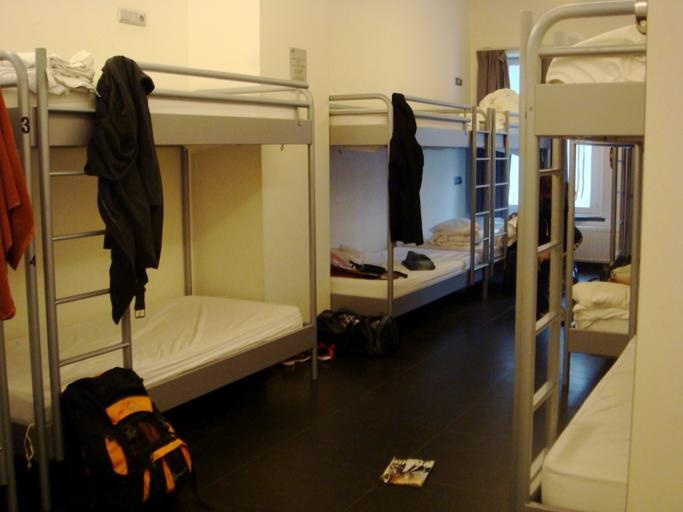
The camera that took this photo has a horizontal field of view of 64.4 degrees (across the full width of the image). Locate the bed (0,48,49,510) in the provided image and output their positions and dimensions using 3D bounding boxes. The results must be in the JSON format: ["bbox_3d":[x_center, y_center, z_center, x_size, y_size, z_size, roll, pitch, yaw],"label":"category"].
[{"bbox_3d":[-1.412,0.143,2.503,0.132,2.109,0.245,-5,9,-29],"label":"bed"}]

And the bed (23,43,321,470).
[{"bbox_3d":[-1.180,-0.064,3.544,1.340,2.258,2.174,4,13,28],"label":"bed"}]

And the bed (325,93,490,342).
[{"bbox_3d":[0.869,-0.614,6.071,1.056,2.311,2.756,5,11,34],"label":"bed"}]

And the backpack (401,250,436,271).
[{"bbox_3d":[0.796,0.075,5.613,0.350,0.137,0.380,2,10,11],"label":"backpack"}]

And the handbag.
[{"bbox_3d":[0.119,0.635,4.639,0.534,0.261,0.365,5,25,15],"label":"handbag"}]

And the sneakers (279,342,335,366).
[{"bbox_3d":[-0.290,0.814,4.514,0.492,0.223,0.158,-6,18,-21],"label":"sneakers"}]
